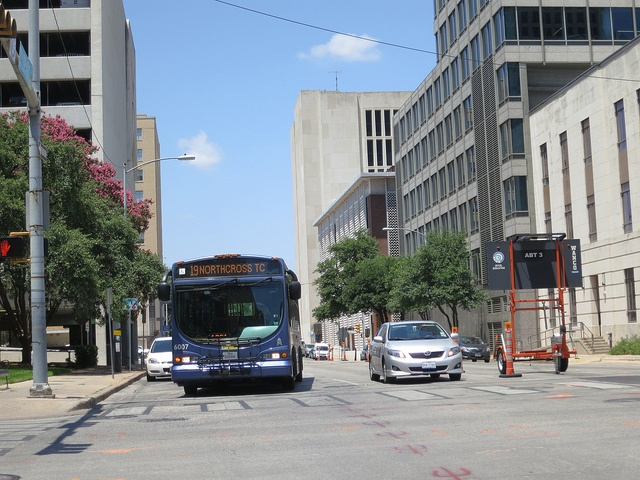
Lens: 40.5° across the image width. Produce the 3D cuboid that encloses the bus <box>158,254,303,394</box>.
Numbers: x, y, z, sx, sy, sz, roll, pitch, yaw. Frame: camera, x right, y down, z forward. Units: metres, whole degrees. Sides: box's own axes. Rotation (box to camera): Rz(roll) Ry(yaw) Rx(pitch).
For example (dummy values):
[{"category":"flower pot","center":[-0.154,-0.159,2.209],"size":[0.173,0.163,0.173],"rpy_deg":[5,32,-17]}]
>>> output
[{"category":"bus","center":[-2.430,2.187,24.722],"size":[2.629,2.515,5.481],"rpy_deg":[-2,-14,1]}]

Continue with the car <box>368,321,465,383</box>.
[{"category":"car","center":[3.041,3.454,27.215],"size":[2.585,1.991,2.783],"rpy_deg":[-3,-8,1]}]

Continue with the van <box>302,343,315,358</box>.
[{"category":"van","center":[-1.013,10.205,79.611],"size":[1.088,0.996,1.963],"rpy_deg":[1,-11,-7]}]
